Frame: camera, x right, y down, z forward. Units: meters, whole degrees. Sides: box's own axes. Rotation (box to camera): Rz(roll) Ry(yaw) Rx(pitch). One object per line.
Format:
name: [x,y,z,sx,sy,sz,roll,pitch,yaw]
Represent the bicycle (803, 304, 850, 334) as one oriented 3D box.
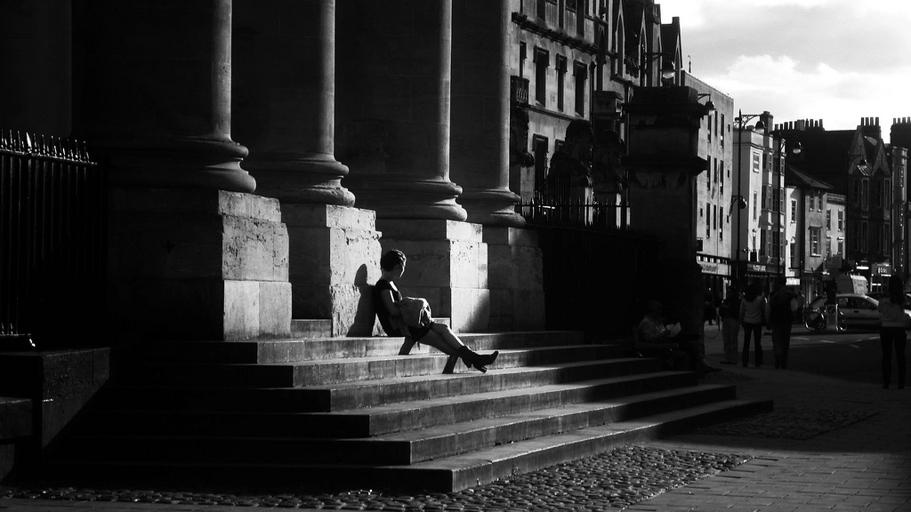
bicycle: [16.766,2.896,57.954,1.971,0.974,1.140,-2,2,-7]
